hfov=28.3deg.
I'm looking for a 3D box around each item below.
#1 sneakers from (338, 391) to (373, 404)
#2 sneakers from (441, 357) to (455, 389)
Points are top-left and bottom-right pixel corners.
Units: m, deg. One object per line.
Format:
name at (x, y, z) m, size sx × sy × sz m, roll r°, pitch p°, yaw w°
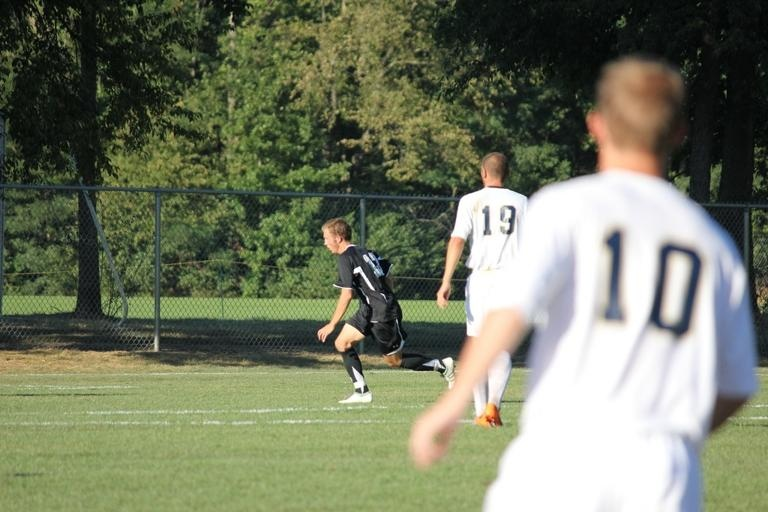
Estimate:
sneakers at (-0.552, 2.667, 28.615) m, size 0.655 × 0.271 × 0.239 m, roll 1°, pitch -5°, yaw 8°
sneakers at (1.256, 2.244, 29.289) m, size 0.278 × 0.680 × 0.221 m, roll -12°, pitch 36°, yaw -5°
